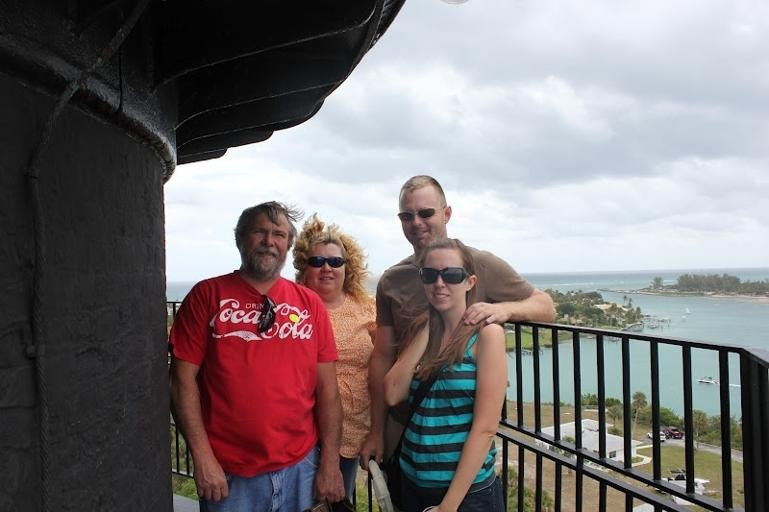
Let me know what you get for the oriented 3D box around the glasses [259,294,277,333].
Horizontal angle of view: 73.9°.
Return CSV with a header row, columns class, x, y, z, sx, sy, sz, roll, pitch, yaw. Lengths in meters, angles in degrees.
class,x,y,z,sx,sy,sz,roll,pitch,yaw
glasses,-0.739,0.373,3.232,0.110,0.206,0.067,1,-35,-12
